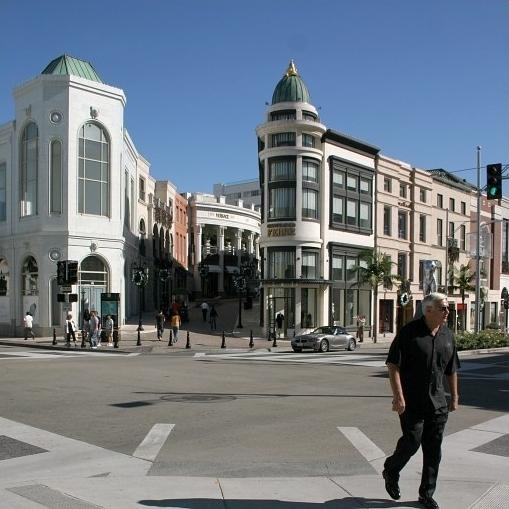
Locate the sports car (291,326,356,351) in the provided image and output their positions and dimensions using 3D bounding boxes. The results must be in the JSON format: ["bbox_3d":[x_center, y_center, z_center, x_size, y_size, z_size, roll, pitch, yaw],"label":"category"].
[{"bbox_3d":[2.982,3.702,35.573,1.187,0.931,2.339,-13,-19,43],"label":"sports car"}]
